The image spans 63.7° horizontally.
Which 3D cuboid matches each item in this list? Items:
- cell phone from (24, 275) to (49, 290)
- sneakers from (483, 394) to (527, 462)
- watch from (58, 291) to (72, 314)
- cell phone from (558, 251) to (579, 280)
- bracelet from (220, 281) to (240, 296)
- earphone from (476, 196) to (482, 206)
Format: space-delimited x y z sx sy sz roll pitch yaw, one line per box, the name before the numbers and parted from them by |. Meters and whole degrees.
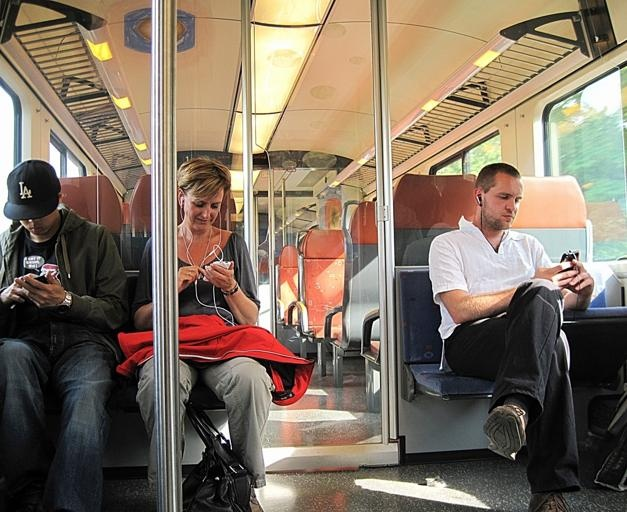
cell phone | -1.167 0.104 2.127 0.066 0.072 0.055 35 -5 -15
sneakers | 0.724 0.664 1.908 0.142 0.217 0.111 18 20 38
watch | -1.086 0.208 2.218 0.088 0.092 0.064 -4 -6 37
cell phone | 1.284 0.052 2.541 0.087 0.143 0.079 27 -33 -14
bracelet | -0.405 0.163 2.483 0.076 0.064 0.143 0 -5 -8
earphone | 0.915 -0.309 2.800 0.019 0.049 0.036 -5 3 -12
